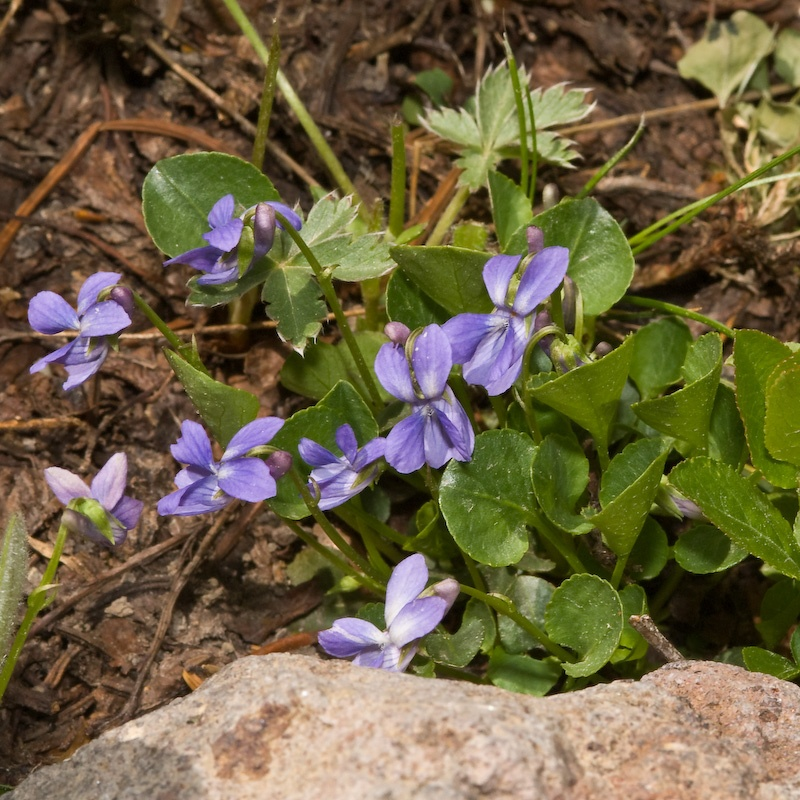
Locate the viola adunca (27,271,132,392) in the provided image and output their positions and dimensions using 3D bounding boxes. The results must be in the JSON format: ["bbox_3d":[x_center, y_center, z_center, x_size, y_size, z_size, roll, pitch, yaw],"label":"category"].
[{"bbox_3d":[-0.768,-0.181,2.336,0.271,0.250,0.098,-27,83,20],"label":"viola adunca"}]

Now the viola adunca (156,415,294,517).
[{"bbox_3d":[-0.362,0.156,2.118,0.230,0.099,0.236,32,97,26],"label":"viola adunca"}]

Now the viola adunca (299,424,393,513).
[{"bbox_3d":[-0.129,0.129,2.241,0.194,0.210,0.126,-19,55,-6],"label":"viola adunca"}]
